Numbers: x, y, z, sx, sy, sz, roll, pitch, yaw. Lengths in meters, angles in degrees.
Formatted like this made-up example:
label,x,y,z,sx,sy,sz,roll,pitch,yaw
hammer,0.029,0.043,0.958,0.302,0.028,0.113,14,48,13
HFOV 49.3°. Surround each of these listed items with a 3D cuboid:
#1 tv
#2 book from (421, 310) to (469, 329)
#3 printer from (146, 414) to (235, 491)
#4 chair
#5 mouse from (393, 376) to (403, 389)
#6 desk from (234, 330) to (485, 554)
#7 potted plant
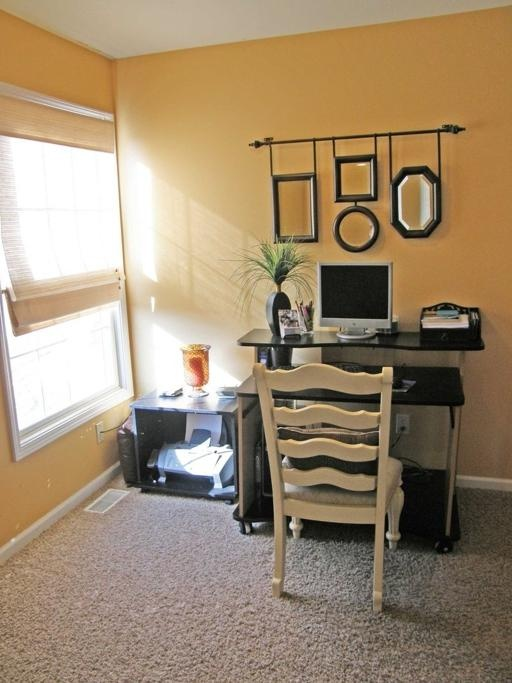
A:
label,x,y,z,sx,sy,sz,roll,pitch,yaw
tv,0.480,-0.205,2.658,0.359,0.348,0.129,2,8,18
book,0.880,-0.101,2.598,0.207,0.074,0.114,2,10,20
printer,-0.329,0.598,3.008,0.532,0.347,0.274,2,10,23
chair,0.287,0.487,2.065,0.491,0.923,0.538,1,10,15
mouse,0.616,0.182,2.420,0.044,0.043,0.045,1,2,33
desk,0.451,0.438,2.370,0.892,0.827,0.487,1,8,14
potted plant,0.068,-0.324,2.981,0.496,0.496,0.474,-3,13,-15
